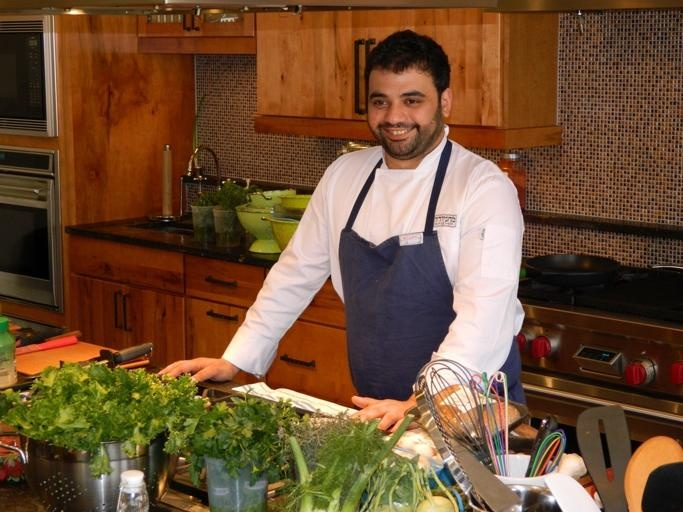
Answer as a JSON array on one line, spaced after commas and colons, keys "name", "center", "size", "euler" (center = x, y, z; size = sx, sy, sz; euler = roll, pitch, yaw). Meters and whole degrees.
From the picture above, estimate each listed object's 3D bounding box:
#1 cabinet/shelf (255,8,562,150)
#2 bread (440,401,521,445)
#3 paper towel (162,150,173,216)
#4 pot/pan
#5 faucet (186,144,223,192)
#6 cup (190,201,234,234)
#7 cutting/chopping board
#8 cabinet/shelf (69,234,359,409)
[{"name": "cabinet/shelf", "center": [0.350, -0.805, 2.576], "size": [0.951, 0.587, 0.341], "euler": [3, 3, 41]}, {"name": "bread", "center": [0.281, 0.304, 1.092], "size": [0.176, 0.040, 0.089], "euler": [-9, 12, -41]}, {"name": "paper towel", "center": [-1.190, -0.495, 3.925], "size": [0.085, 0.509, 0.083], "euler": [-4, 10, -38]}, {"name": "pot/pan", "center": [1.093, 0.058, 2.624], "size": [0.439, 0.061, 0.274], "euler": [3, 7, 23]}, {"name": "faucet", "center": [-0.929, -0.537, 3.948], "size": [0.281, 0.404, 0.100], "euler": [2, 11, 12]}, {"name": "cup", "center": [-0.753, -0.210, 3.366], "size": [0.211, 0.136, 0.193], "euler": [0, 3, 0]}, {"name": "cutting/chopping board", "center": [-0.953, 0.332, 1.941], "size": [0.266, 0.045, 0.288], "euler": [-3, 11, -33]}, {"name": "cabinet/shelf", "center": [-0.499, 0.262, 2.510], "size": [0.834, 0.501, 0.221], "euler": [10, 5, 35]}]
